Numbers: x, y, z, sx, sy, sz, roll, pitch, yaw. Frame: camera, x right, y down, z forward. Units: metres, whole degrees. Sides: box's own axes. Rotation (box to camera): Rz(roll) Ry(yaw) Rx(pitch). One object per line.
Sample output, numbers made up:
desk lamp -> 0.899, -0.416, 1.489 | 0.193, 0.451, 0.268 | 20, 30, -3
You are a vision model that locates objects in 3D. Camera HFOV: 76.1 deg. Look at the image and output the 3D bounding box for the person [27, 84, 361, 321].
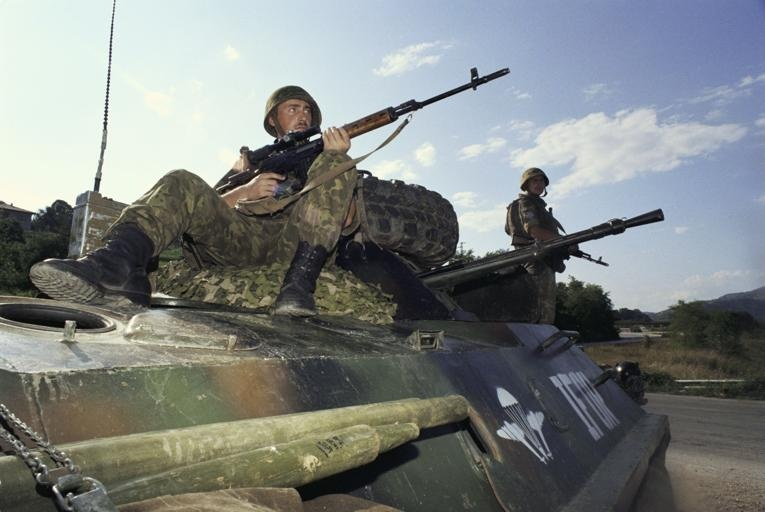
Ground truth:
person -> -0.836, -0.343, 2.820 | 1.003, 1.204, 1.883 | 17, 11, 24
